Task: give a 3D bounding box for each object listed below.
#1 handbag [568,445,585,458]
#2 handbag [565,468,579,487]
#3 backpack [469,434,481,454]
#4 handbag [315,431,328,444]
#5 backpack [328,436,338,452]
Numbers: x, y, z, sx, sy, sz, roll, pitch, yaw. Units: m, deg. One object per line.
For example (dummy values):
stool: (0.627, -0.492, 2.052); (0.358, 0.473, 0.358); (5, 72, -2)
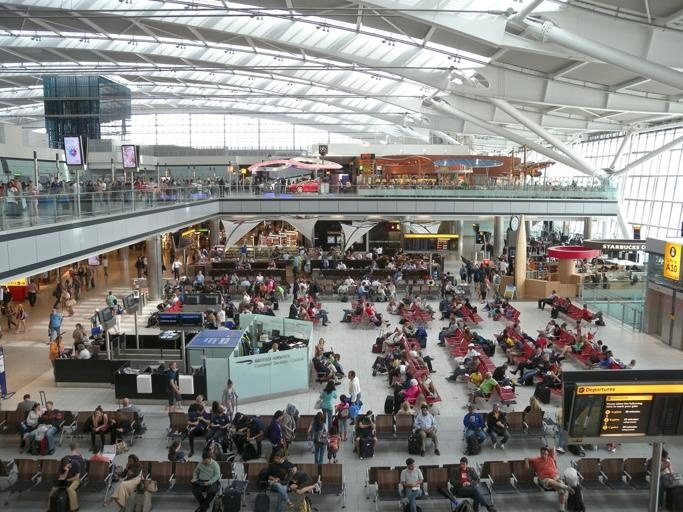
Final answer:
handbag: (6.107, 4.972, 14.227); (0.408, 0.247, 0.359); (1, 5, 4)
handbag: (5.025, 4.813, 12.125); (0.279, 0.294, 0.350); (6, 32, 4)
backpack: (3.467, 4.832, 14.251); (0.421, 0.508, 0.224); (-4, 7, -42)
handbag: (-0.466, 4.398, 13.459); (0.240, 0.276, 0.293); (6, 21, 8)
backpack: (-0.199, 4.686, 13.900); (0.273, 0.379, 0.360); (0, 2, -2)
